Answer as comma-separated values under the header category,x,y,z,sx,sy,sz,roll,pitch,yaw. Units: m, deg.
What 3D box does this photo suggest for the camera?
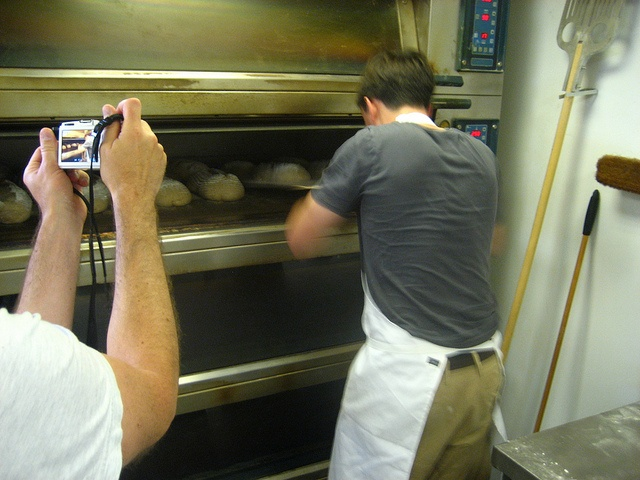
category,x,y,z,sx,sy,sz,roll,pitch,yaw
camera,-0.471,-0.180,1.025,0.133,0.107,0.033,0,1,13

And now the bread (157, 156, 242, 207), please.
category,x,y,z,sx,sy,sz,roll,pitch,yaw
bread,-0.339,-0.178,1.464,0.199,0.051,0.112,12,23,21
